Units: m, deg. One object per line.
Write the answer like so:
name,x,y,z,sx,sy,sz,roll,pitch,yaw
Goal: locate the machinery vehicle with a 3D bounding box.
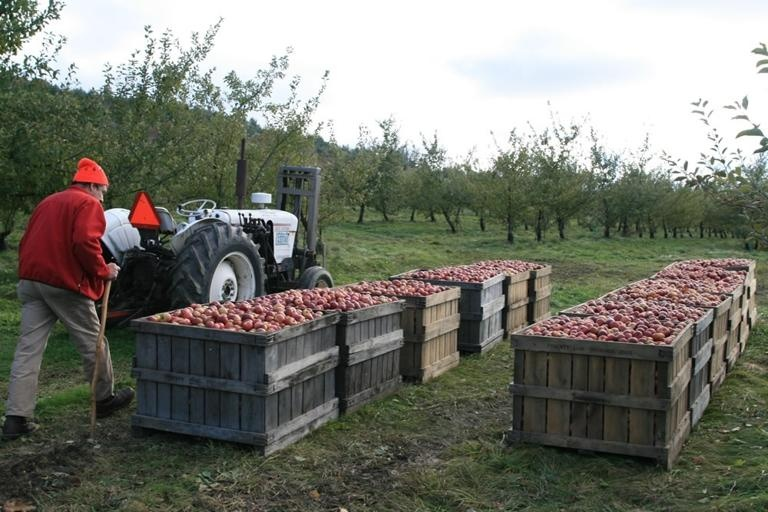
machinery vehicle,-3.099,-0.204,11.978,2.821,3.149,5.064,8,10,28
